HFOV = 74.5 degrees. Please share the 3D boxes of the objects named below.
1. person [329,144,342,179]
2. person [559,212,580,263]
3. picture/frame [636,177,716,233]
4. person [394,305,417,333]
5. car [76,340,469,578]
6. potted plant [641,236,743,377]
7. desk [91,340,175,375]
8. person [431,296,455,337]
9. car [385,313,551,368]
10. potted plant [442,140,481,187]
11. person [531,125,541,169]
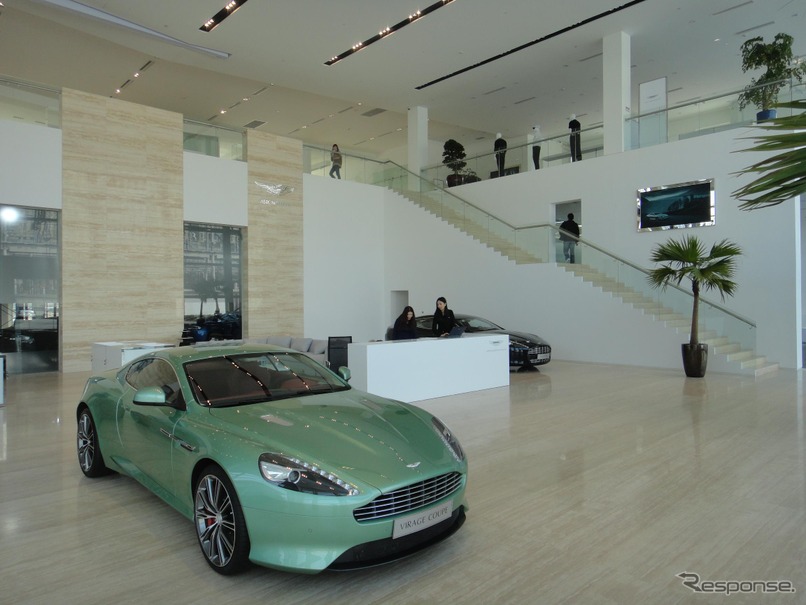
[{"bbox_3d":[-2.455,-5.082,19.280,0.333,1.212,0.735,3,6,38],"label":"person"},{"bbox_3d":[4.966,-1.900,15.878,0.587,1.455,1.877,1,4,17],"label":"person"},{"bbox_3d":[7.373,-2.633,14.276,0.028,1.195,1.702,-2,1,-43],"label":"picture/frame"},{"bbox_3d":[0.053,0.320,11.249,0.457,0.825,0.587,1,10,1],"label":"person"},{"bbox_3d":[-1.328,0.960,4.586,3.147,1.066,1.576,2,1,42],"label":"car"},{"bbox_3d":[6.351,0.101,11.839,2.045,3.088,2.245,18,-19,-23],"label":"potted plant"},{"bbox_3d":[-4.113,0.813,7.988,0.925,0.596,0.934,2,2,43],"label":"desk"},{"bbox_3d":[0.835,0.284,11.178,0.403,0.819,0.951,0,4,5],"label":"person"},{"bbox_3d":[1.724,0.933,13.624,3.848,1.147,1.720,-1,-2,38],"label":"car"},{"bbox_3d":[2.128,-5.431,20.410,1.216,1.989,2.054,0,4,-1],"label":"potted plant"},{"bbox_3d":[4.505,-5.270,18.070,0.328,1.645,1.289,1,4,13],"label":"person"}]
